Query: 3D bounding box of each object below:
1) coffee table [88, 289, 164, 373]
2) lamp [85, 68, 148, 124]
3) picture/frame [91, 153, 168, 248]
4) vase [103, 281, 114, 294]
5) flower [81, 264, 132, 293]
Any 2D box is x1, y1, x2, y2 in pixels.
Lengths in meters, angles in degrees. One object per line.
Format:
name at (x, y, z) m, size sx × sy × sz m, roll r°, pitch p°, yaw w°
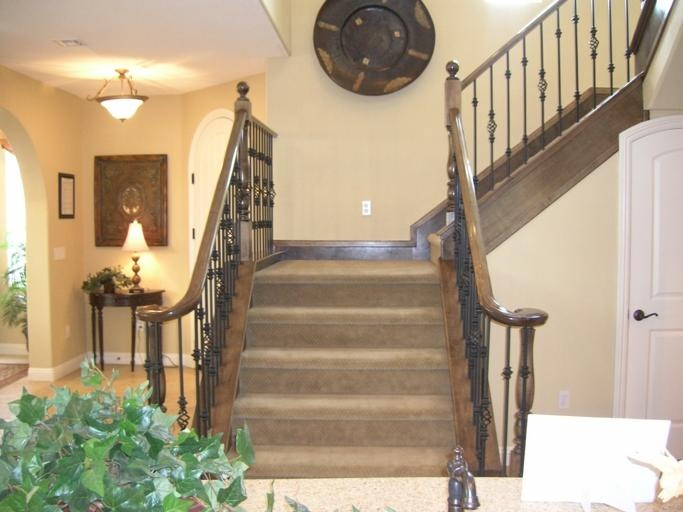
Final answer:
coffee table at (-2.434, 0.794, 6.327) m, size 0.874 × 0.869 × 0.471 m, roll -1°, pitch -5°, yaw 19°
lamp at (-2.159, -1.562, 5.631) m, size 0.537 × 0.481 × 0.533 m, roll -7°, pitch 5°, yaw -32°
picture/frame at (-2.331, -0.655, 6.457) m, size 1.053 × 1.321 × 0.093 m, roll 0°, pitch 1°, yaw -1°
vase at (-2.487, 0.333, 6.189) m, size 0.117 × 0.089 × 0.118 m, roll 1°, pitch -2°, yaw 0°
flower at (-2.530, 0.244, 6.254) m, size 0.482 × 0.286 × 0.199 m, roll 3°, pitch -5°, yaw -21°
